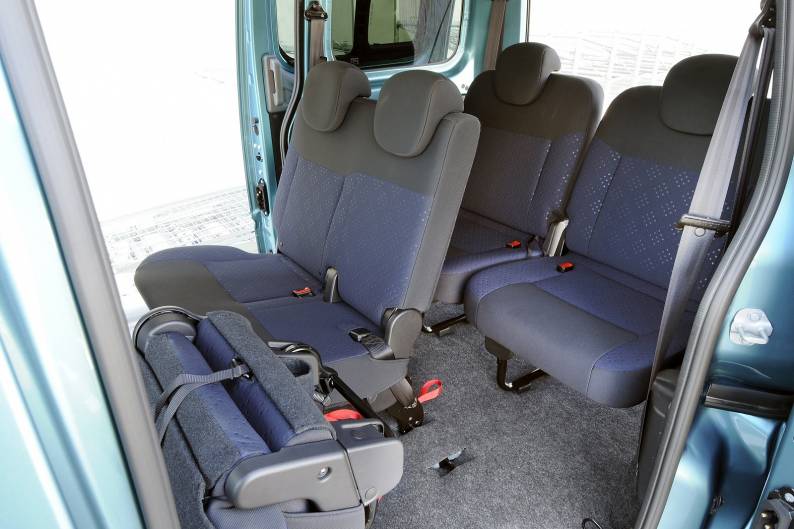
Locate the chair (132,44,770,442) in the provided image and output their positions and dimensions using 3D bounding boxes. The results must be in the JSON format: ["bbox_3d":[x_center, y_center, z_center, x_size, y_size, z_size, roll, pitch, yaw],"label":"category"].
[{"bbox_3d":[0.197,-0.262,1.940,2.010,1.187,1.440,3,29,3],"label":"chair"}]
